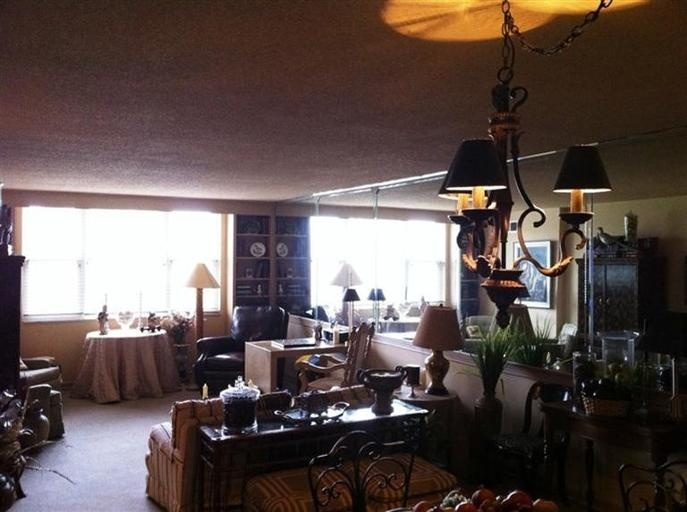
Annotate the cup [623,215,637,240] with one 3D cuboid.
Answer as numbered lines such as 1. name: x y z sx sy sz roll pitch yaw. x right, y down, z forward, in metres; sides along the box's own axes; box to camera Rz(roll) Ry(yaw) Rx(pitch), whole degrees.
1. cup: 1.997 -0.207 3.950 0.088 0.198 0.069 -2 -2 39

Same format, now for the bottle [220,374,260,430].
1. bottle: -0.705 0.998 3.907 0.291 0.361 0.302 1 -6 -8

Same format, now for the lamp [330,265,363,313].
1. lamp: 0.055 0.358 7.248 0.477 0.762 0.506 0 -9 -1

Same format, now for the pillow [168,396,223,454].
1. pillow: -1.037 1.135 3.973 0.345 0.346 0.324 2 -4 -23

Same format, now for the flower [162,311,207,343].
1. flower: -2.307 1.015 8.182 0.558 0.632 0.466 0 -6 -20

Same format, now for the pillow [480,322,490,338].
1. pillow: 1.221 0.635 4.905 0.084 0.100 0.104 2 -12 -6

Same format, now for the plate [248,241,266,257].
1. plate: -1.293 -0.107 8.367 0.195 0.211 0.046 -2 5 -22

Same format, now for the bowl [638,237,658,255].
1. bowl: 2.058 -0.065 3.844 0.121 0.118 0.052 -2 -2 31

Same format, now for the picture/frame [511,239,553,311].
1. picture/frame: 1.334 0.155 3.974 0.024 0.659 0.454 10 -15 -17

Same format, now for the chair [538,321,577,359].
1. chair: 1.663 0.647 4.385 0.248 0.317 0.228 1 -2 30

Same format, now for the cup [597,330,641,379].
1. cup: 1.823 0.681 3.926 0.276 0.353 0.256 0 -6 0

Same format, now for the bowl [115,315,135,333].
1. bowl: -2.957 0.889 7.661 0.266 0.236 0.321 0 -5 -7

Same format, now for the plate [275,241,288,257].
1. plate: -0.921 -0.101 8.433 0.159 0.194 0.070 -5 4 -32

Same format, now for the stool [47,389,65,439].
1. stool: -2.903 1.592 5.739 0.142 0.468 0.276 0 -2 -26

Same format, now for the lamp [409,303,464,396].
1. lamp: 0.828 0.806 4.902 0.406 0.757 0.488 -1 -2 18

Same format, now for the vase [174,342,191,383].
1. vase: -2.302 1.510 8.140 0.247 0.542 0.591 0 -2 -16

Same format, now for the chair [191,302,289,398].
1. chair: -1.417 1.267 7.711 1.116 1.408 1.113 -3 -19 24

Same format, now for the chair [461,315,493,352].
1. chair: 1.170 0.678 4.964 0.275 0.327 0.293 6 -9 -18
